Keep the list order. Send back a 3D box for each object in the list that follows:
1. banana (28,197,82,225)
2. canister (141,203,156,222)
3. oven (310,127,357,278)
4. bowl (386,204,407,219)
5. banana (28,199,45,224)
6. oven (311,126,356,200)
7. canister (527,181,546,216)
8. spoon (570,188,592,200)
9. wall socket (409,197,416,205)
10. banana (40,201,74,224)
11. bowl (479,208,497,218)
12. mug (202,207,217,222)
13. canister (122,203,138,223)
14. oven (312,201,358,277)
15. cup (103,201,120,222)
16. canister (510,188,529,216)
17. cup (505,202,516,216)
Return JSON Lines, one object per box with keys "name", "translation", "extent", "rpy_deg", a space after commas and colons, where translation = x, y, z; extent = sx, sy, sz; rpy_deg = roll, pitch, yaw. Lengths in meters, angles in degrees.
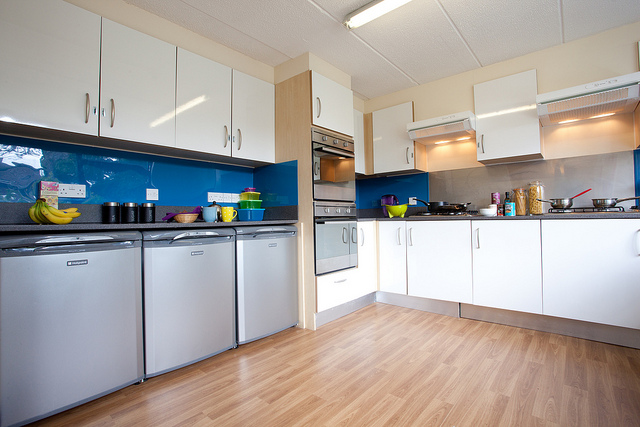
{"name": "banana", "translation": [-2.134, -0.015, 3.271], "extent": [0.341, 0.204, 0.194], "rpy_deg": [0, 16, -44]}
{"name": "canister", "translation": [-1.539, -0.010, 3.629], "extent": [0.152, 0.163, 0.154], "rpy_deg": [-3, -4, 37]}
{"name": "oven", "translation": [0.033, -0.078, 4.459], "extent": [0.515, 1.495, 0.732], "rpy_deg": [-1, 0, 41]}
{"name": "bowl", "translation": [0.920, -0.029, 4.832], "extent": [0.245, 0.139, 0.169], "rpy_deg": [-2, -9, 12]}
{"name": "banana", "translation": [-2.246, -0.008, 3.228], "extent": [0.070, 0.177, 0.106], "rpy_deg": [3, 6, -11]}
{"name": "oven", "translation": [0.027, -0.447, 4.432], "extent": [0.395, 0.756, 0.829], "rpy_deg": [-1, 1, 36]}
{"name": "canister", "translation": [2.295, -0.174, 4.306], "extent": [0.254, 0.374, 0.175], "rpy_deg": [-2, 3, -6]}
{"name": "spoon", "translation": [2.696, -0.202, 4.163], "extent": [0.234, 0.026, 0.027], "rpy_deg": [-31, -32, 31]}
{"name": "wall socket", "translation": [1.184, -0.157, 5.163], "extent": [0.100, 0.095, 0.013], "rpy_deg": [1, 2, 35]}
{"name": "banana", "translation": [-2.084, -0.006, 3.203], "extent": [0.199, 0.186, 0.073], "rpy_deg": [-2, -2, -29]}
{"name": "bowl", "translation": [1.720, -0.003, 4.158], "extent": [0.150, 0.095, 0.220], "rpy_deg": [-4, -2, 28]}
{"name": "mug", "translation": [-1.059, 0.002, 3.961], "extent": [0.145, 0.105, 0.117], "rpy_deg": [1, -1, 23]}
{"name": "canister", "translation": [-1.639, -0.004, 3.518], "extent": [0.129, 0.175, 0.180], "rpy_deg": [-2, -2, -32]}
{"name": "oven", "translation": [0.044, 0.248, 4.454], "extent": [0.534, 0.741, 0.701], "rpy_deg": [-3, -1, 43]}
{"name": "cup", "translation": [-1.833, -0.016, 3.559], "extent": [0.132, 0.192, 0.161], "rpy_deg": [-2, -2, -28]}
{"name": "canister", "translation": [2.152, -0.127, 4.435], "extent": [0.248, 0.311, 0.240], "rpy_deg": [-1, 0, 0]}
{"name": "cup", "translation": [1.971, -0.043, 4.191], "extent": [0.106, 0.137, 0.440], "rpy_deg": [-4, -2, 25]}
